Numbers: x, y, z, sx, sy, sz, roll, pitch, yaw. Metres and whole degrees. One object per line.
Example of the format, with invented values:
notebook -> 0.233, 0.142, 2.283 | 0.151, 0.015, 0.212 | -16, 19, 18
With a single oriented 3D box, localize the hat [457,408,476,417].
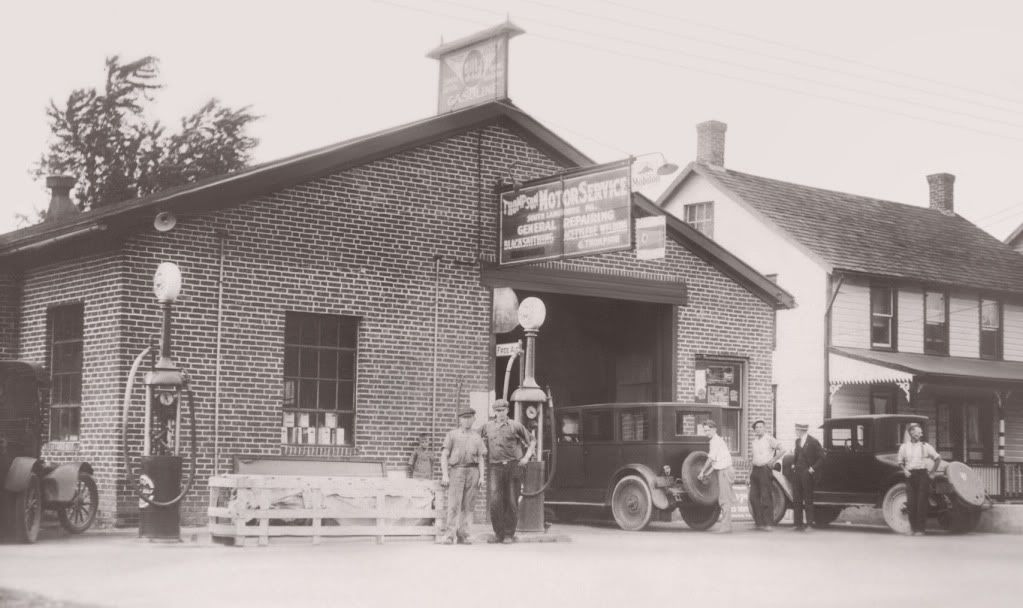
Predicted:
hat -> -0.882, 2.289, 24.323 | 0.365, 0.123, 0.393 | 0, 0, 19

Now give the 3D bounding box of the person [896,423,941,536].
person -> 9.181, 3.946, 26.573 | 0.820, 2.448, 0.744 | 0, -13, 6

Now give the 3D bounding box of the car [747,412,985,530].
car -> 8.396, 3.990, 27.913 | 4.882, 2.245, 2.624 | -1, -4, 38

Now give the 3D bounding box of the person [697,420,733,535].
person -> 4.680, 3.903, 26.703 | 0.699, 2.551, 0.671 | -4, -14, 23

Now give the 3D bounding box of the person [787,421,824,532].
person -> 6.825, 3.992, 27.398 | 0.624, 2.496, 0.824 | 5, -13, -14

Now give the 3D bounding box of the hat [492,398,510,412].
hat -> -0.237, 2.140, 24.721 | 0.261, 0.206, 0.278 | 1, -10, -7

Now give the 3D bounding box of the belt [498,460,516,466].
belt -> -0.084, 3.284, 24.269 | 0.291, 0.124, 0.047 | 2, -13, -2

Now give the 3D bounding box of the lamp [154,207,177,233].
lamp -> -7.330, -1.733, 24.915 | 0.478, 0.385, 0.428 | 4, -13, -12

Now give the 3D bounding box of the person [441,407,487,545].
person -> -0.987, 3.537, 24.085 | 0.865, 2.678, 0.626 | 1, -13, 1

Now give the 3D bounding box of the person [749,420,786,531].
person -> 5.937, 4.040, 27.647 | 0.694, 2.506, 1.071 | 0, -13, 7
